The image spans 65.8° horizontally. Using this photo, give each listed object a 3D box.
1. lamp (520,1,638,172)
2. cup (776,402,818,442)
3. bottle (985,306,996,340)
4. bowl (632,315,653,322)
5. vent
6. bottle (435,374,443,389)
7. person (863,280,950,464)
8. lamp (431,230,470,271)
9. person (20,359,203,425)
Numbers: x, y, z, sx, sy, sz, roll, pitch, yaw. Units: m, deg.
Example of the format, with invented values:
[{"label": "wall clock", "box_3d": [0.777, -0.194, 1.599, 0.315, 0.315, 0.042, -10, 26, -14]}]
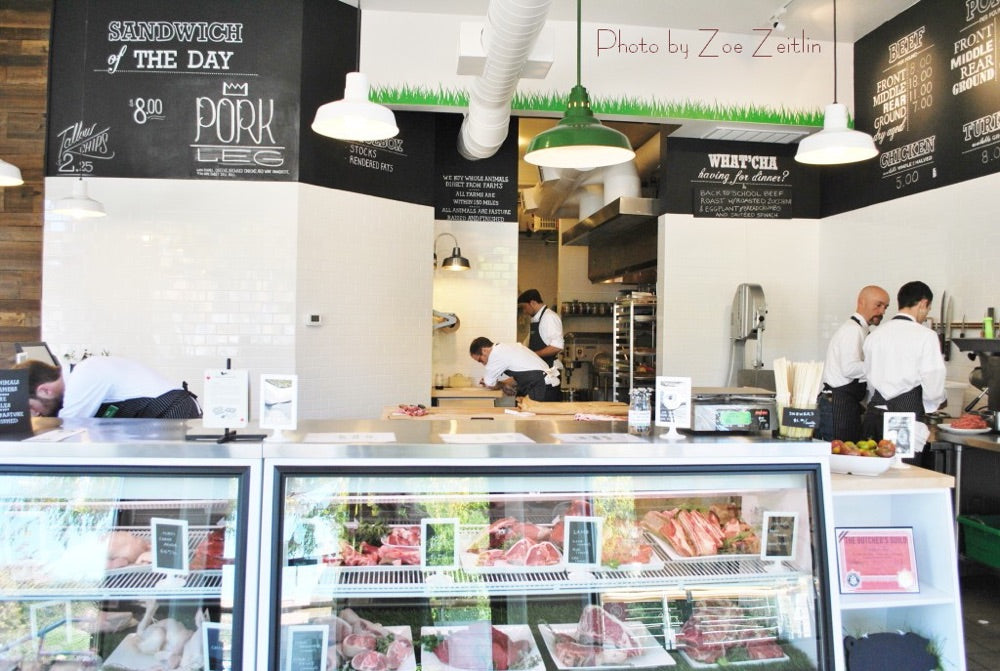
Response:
[{"label": "lamp", "box_3d": [0.557, -1.711, 5.170, 0.651, 1.344, 1.370, 0, 0, 8]}, {"label": "cup", "box_3d": [1.535, 0.465, 3.996, 0.164, 0.128, 0.176, 2, -5, 0]}, {"label": "bottle", "box_3d": [3.853, -0.105, 6.063, 0.073, 0.243, 0.437, 0, 0, 32]}, {"label": "bowl", "box_3d": [1.590, -0.174, 8.491, 0.213, 0.073, 0.322, 0, 0, 13]}, {"label": "vent", "box_3d": [1.328, -1.347, 9.099, 0.544, 0.809, 1.573, 2, -1, -5]}, {"label": "bottle", "box_3d": [-0.645, 0.497, 8.194, 0.125, 0.204, 0.115, 0, -8, 0]}, {"label": "person", "box_3d": [3.149, 0.290, 6.001, 0.567, 1.398, 0.449, 0, 0, 24]}, {"label": "lamp", "box_3d": [-0.490, -0.868, 8.049, 0.376, 0.415, 0.419, 1, 0, -5]}, {"label": "person", "box_3d": [-2.568, 0.363, 5.058, 0.912, 0.268, 0.548, 1, -3, -11]}]
